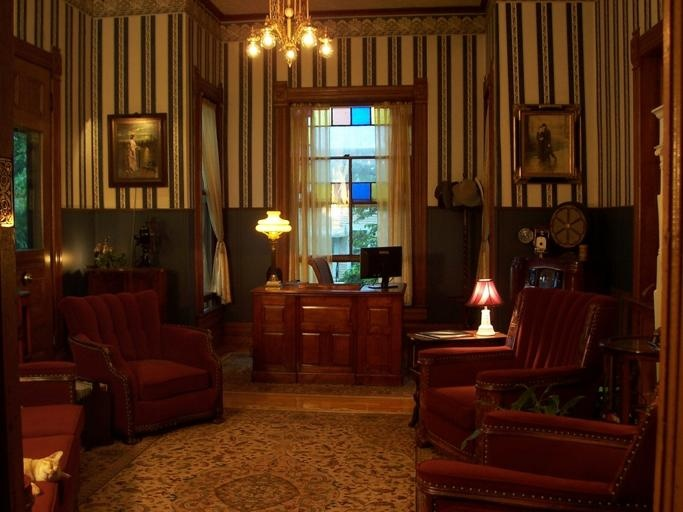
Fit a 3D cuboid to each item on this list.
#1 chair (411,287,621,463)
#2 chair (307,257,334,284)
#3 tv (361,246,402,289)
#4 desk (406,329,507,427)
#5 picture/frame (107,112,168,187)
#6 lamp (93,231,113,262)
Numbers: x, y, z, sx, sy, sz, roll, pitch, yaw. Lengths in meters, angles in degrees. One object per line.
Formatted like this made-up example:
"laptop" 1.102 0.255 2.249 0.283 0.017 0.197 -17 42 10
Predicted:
"chair" 1.170 0.879 4.417 1.220 1.391 1.326 4 -2 20
"chair" -0.276 0.184 7.161 0.301 0.470 0.248 -1 7 16
"tv" 0.436 0.122 6.977 0.437 0.450 0.141 0 6 -16
"desk" 0.905 1.135 5.306 0.848 0.945 0.750 -1 -2 2
"picture/frame" -2.467 -1.302 7.576 0.784 1.051 0.076 -1 -1 2
"lamp" -2.857 -0.092 7.431 0.224 0.305 0.579 -2 5 -22
